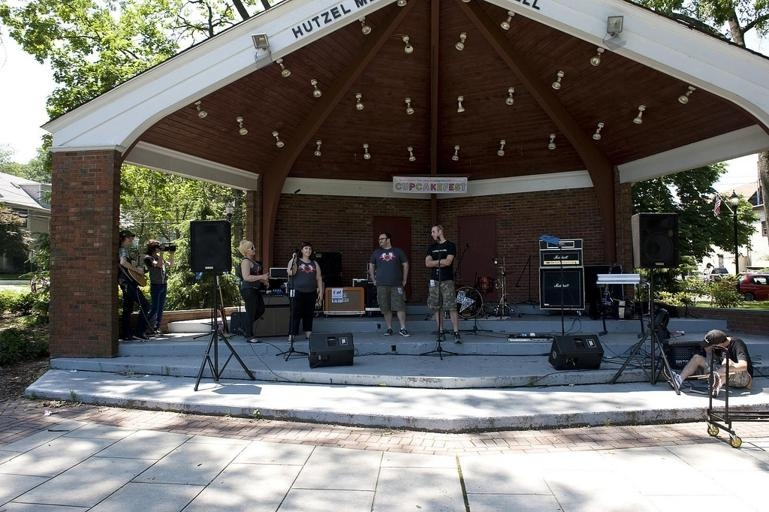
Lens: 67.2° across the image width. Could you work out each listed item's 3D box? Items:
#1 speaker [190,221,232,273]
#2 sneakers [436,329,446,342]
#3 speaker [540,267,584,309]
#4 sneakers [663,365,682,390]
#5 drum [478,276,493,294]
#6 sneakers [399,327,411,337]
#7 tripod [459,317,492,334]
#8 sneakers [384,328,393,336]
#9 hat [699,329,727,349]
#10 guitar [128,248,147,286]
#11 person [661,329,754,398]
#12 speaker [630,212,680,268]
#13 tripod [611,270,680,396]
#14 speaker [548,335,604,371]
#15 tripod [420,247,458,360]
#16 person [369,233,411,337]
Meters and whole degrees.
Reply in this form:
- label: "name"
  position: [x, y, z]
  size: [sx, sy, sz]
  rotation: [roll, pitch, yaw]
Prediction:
- label: "speaker"
  position: [-3.025, -0.167, 10.095]
  size: [0.857, 1.092, 0.608]
  rotation: [0, 4, -4]
- label: "sneakers"
  position: [1.096, 1.586, 11.475]
  size: [0.132, 0.166, 0.394]
  rotation: [-3, -11, 15]
- label: "speaker"
  position: [4.312, 0.804, 13.930]
  size: [1.102, 0.991, 0.829]
  rotation: [-3, -7, 36]
- label: "sneakers"
  position: [4.714, 2.010, 9.438]
  size: [0.213, 0.177, 0.497]
  rotation: [-4, 40, -3]
- label: "drum"
  position: [2.604, 0.727, 14.895]
  size: [0.387, 0.368, 0.412]
  rotation: [0, -6, 0]
- label: "sneakers"
  position: [0.416, 1.632, 12.377]
  size: [0.104, 0.124, 0.258]
  rotation: [1, -6, -30]
- label: "tripod"
  position: [2.077, 1.568, 13.194]
  size: [0.697, 0.288, 0.954]
  rotation: [0, -1, 8]
- label: "sneakers"
  position: [0.086, 1.644, 12.552]
  size: [0.102, 0.117, 0.279]
  rotation: [-2, -10, 17]
- label: "hat"
  position: [5.073, 1.273, 8.937]
  size: [0.283, 0.246, 0.437]
  rotation: [-1, 18, 46]
- label: "guitar"
  position: [-5.741, 0.260, 13.479]
  size: [0.210, 0.787, 0.471]
  rotation: [-12, -1, -17]
- label: "person"
  position: [5.165, 1.664, 9.177]
  size: [1.268, 0.893, 0.972]
  rotation: [-6, -1, 9]
- label: "speaker"
  position: [4.691, -0.255, 10.149]
  size: [0.887, 0.926, 0.877]
  rotation: [2, -4, -30]
- label: "tripod"
  position: [4.609, 1.226, 10.220]
  size: [0.860, 1.656, 1.019]
  rotation: [-3, -17, 21]
- label: "speaker"
  position: [3.372, 1.691, 10.332]
  size: [0.826, 0.543, 0.571]
  rotation: [0, 12, -2]
- label: "tripod"
  position: [1.198, 0.673, 11.892]
  size: [0.728, 2.556, 1.776]
  rotation: [0, -2, 7]
- label: "person"
  position: [0.064, 0.581, 12.249]
  size: [0.772, 2.051, 0.538]
  rotation: [0, -2, -3]
